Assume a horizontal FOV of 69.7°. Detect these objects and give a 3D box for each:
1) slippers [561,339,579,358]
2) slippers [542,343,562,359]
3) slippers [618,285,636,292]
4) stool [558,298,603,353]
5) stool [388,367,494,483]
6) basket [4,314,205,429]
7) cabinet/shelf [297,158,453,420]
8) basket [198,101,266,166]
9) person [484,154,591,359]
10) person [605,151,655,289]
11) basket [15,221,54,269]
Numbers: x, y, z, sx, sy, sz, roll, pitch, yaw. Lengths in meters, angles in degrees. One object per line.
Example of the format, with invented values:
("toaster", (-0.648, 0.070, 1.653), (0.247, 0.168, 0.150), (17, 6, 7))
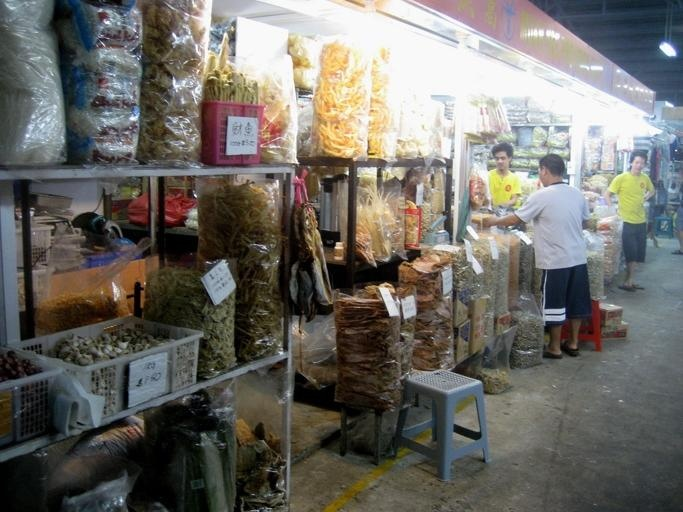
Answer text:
("slippers", (2.544, 1.045, 5.523), (0.099, 0.111, 0.269), (-1, 11, 0))
("slippers", (2.262, 1.049, 5.358), (0.090, 0.094, 0.240), (-1, 5, -27))
("slippers", (4.856, 0.560, 8.350), (0.225, 0.072, 0.085), (4, 8, 41))
("stool", (2.766, 0.817, 5.812), (0.525, 0.605, 0.660), (0, 5, 34))
("stool", (0.703, 1.097, 3.553), (0.657, 0.638, 0.627), (-2, 4, -38))
("basket", (-0.840, 0.447, 1.975), (0.362, 0.172, 0.477), (14, 11, 26))
("cabinet/shelf", (0.257, 0.210, 3.972), (0.560, 1.970, 1.684), (9, 13, 33))
("basket", (-0.487, -0.526, 2.224), (0.285, 0.259, 0.278), (-5, 12, -37))
("person", (2.236, 0.028, 5.250), (1.187, 2.161, 0.464), (-2, 11, -20))
("person", (5.090, -0.666, 8.759), (0.695, 2.354, 1.428), (8, 12, 30))
("basket", (-1.735, -0.061, 2.779), (0.225, 0.310, 0.323), (2, -1, -37))
